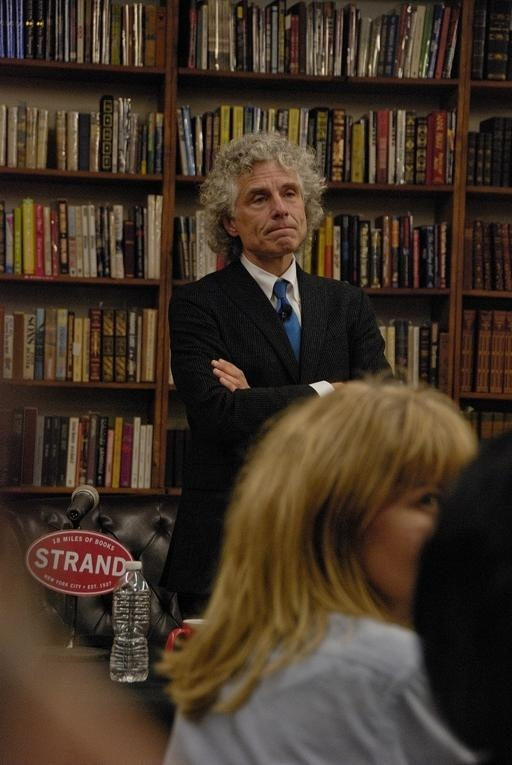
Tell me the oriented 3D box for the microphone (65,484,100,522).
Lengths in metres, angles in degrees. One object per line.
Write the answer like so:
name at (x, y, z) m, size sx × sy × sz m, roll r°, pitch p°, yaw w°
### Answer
microphone at (-0.407, 0.288, 1.551) m, size 0.060 × 0.095 × 0.110 m, roll 2°, pitch 0°, yaw -10°

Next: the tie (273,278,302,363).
tie at (0.071, -0.160, 1.683) m, size 0.049 × 0.229 × 0.058 m, roll -3°, pitch -20°, yaw -8°

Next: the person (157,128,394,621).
person at (0.066, 0.192, 1.803) m, size 0.615 × 1.589 × 0.601 m, roll 2°, pitch 10°, yaw 7°
